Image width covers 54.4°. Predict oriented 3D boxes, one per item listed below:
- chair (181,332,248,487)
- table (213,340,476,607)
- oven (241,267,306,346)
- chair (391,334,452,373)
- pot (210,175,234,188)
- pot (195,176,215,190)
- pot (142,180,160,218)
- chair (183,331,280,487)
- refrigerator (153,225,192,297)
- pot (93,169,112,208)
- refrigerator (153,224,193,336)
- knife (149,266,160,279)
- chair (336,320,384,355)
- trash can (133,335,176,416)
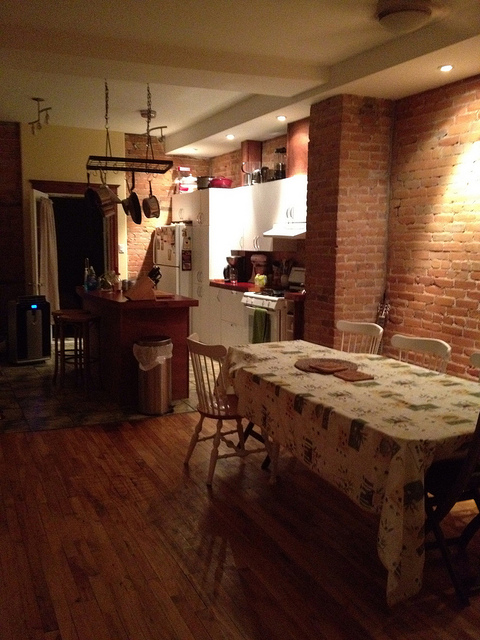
[{"bbox_3d":[-0.077,0.521,2.868,0.483,0.824,0.468,-2,6,-26],"label":"chair"},{"bbox_3d":[0.410,0.432,2.039,0.678,0.361,1.229,-2,8,-17],"label":"table"},{"bbox_3d":[0.432,-0.031,5.522,0.576,1.204,0.848,0,8,-17],"label":"oven"},{"bbox_3d":[1.226,0.220,3.138,0.269,0.425,0.251,5,1,39],"label":"chair"},{"bbox_3d":[-0.266,-1.997,6.810,0.319,0.167,0.181,-1,4,-19],"label":"pot"},{"bbox_3d":[-0.530,-2.086,7.127,0.276,0.250,0.256,1,3,0],"label":"pot"},{"bbox_3d":[-0.876,-1.213,4.753,0.155,0.311,0.106,10,21,42],"label":"pot"},{"bbox_3d":[-0.059,0.543,2.909,0.533,0.839,0.496,1,1,-36],"label":"chair"},{"bbox_3d":[-1.040,-0.949,7.453,0.379,1.109,0.875,-1,4,-26],"label":"refrigerator"},{"bbox_3d":[-1.270,-1.216,4.345,0.156,0.355,0.473,-1,4,-19],"label":"pot"},{"bbox_3d":[-1.045,-0.958,7.475,0.346,1.124,0.915,-2,4,-29],"label":"refrigerator"},{"bbox_3d":[-0.892,-0.491,4.785,0.068,0.097,0.166,2,4,19],"label":"knife"},{"bbox_3d":[0.960,0.134,3.834,0.242,0.392,0.238,3,-8,28],"label":"chair"},{"bbox_3d":[-0.736,0.473,4.082,0.324,0.629,0.392,3,7,24],"label":"trash can"}]
